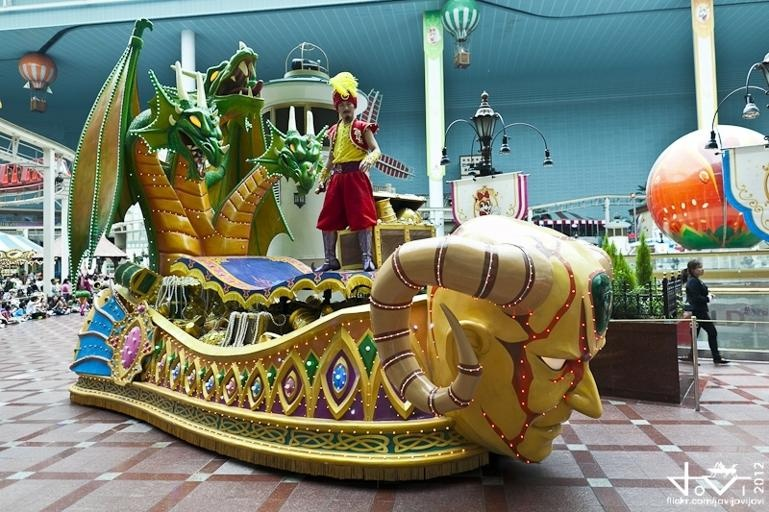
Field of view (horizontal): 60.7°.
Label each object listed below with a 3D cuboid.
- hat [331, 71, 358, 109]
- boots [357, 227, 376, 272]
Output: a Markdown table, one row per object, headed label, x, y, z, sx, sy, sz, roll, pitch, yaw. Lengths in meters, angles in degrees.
| label | x | y | z | sx | sy | sz | roll | pitch | yaw |
| --- | --- | --- | --- | --- | --- | --- | --- | --- | --- |
| hat | -0.641 | -2.661 | 10.526 | 0.441 | 0.394 | 0.503 | -1 | -1 | -5 |
| boots | -0.272 | -0.099 | 10.309 | 0.242 | 0.666 | 0.454 | -1 | -1 | -9 |
